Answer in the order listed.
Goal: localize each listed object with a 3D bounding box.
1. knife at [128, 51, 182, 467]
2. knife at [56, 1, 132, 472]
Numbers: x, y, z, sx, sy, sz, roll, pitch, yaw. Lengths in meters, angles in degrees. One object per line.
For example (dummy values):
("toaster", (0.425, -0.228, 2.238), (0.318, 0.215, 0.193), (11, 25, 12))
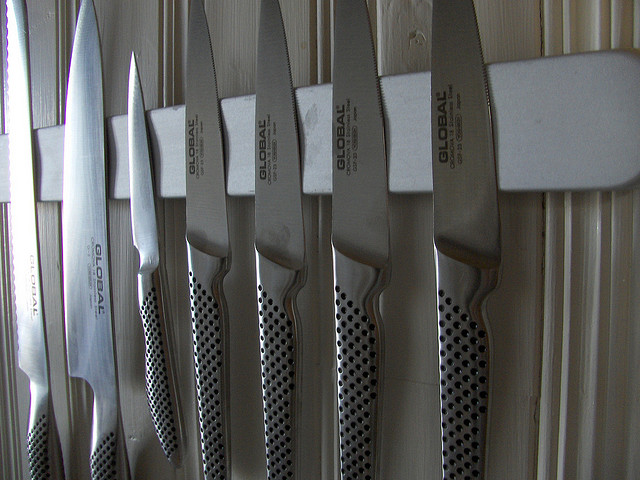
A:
("knife", (-0.288, 0.073, 1.346), (0.070, 0.032, 0.815), (-2, 87, 10))
("knife", (-0.406, 0.009, 1.390), (0.094, 0.035, 0.944), (0, 92, 5))
